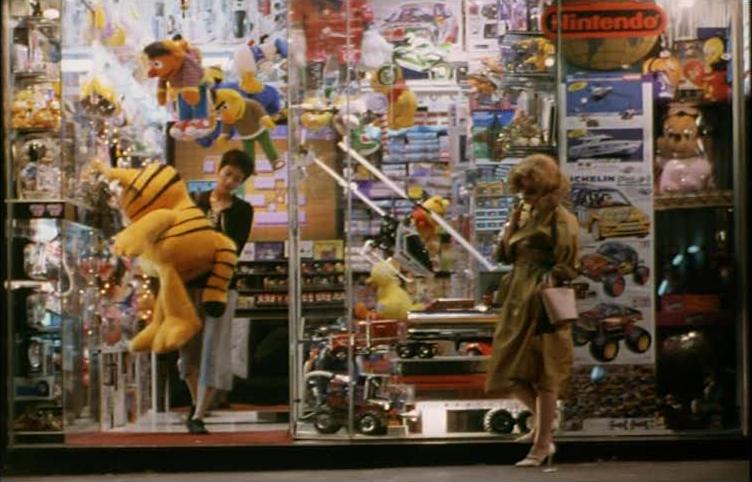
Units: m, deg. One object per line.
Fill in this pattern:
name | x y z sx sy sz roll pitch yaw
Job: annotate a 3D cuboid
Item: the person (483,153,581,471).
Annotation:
person | 1.069 0.481 10.763 0.616 2.124 0.482 0 3 7
